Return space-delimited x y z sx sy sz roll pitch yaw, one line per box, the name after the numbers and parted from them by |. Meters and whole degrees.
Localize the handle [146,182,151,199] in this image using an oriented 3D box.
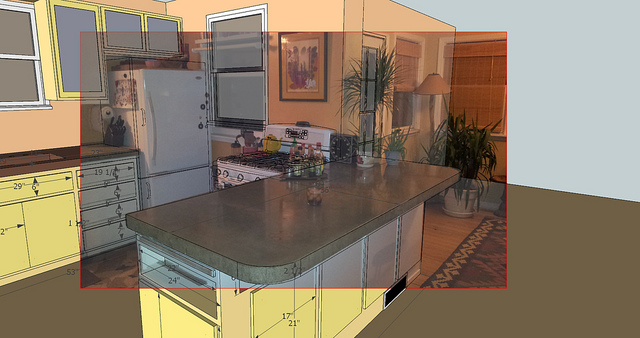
-2.588 0.317 5.838 0.055 0.250 0.044 1 17 1 | handle

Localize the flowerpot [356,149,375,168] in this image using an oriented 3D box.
0.589 -0.144 5.029 0.237 0.198 0.239 7 11 44 | flowerpot

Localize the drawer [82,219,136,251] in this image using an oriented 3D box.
-3.180 0.932 5.582 0.257 0.329 0.775 -9 -2 18 | drawer

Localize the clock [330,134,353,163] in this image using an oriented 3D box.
0.340 -0.289 5.261 0.170 0.386 0.442 -8 14 -39 | clock

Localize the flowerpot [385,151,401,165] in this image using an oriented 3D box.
0.990 -0.143 5.183 0.204 0.129 0.181 4 7 34 | flowerpot

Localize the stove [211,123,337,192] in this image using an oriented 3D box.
-0.608 0.035 5.408 1.519 1.263 0.878 12 20 37 | stove

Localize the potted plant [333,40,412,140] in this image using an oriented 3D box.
0.752 -1.066 5.120 0.982 1.261 0.327 -11 20 -34 | potted plant

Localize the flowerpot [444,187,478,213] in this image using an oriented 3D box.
2.477 0.533 6.811 0.496 0.317 0.481 6 12 31 | flowerpot
